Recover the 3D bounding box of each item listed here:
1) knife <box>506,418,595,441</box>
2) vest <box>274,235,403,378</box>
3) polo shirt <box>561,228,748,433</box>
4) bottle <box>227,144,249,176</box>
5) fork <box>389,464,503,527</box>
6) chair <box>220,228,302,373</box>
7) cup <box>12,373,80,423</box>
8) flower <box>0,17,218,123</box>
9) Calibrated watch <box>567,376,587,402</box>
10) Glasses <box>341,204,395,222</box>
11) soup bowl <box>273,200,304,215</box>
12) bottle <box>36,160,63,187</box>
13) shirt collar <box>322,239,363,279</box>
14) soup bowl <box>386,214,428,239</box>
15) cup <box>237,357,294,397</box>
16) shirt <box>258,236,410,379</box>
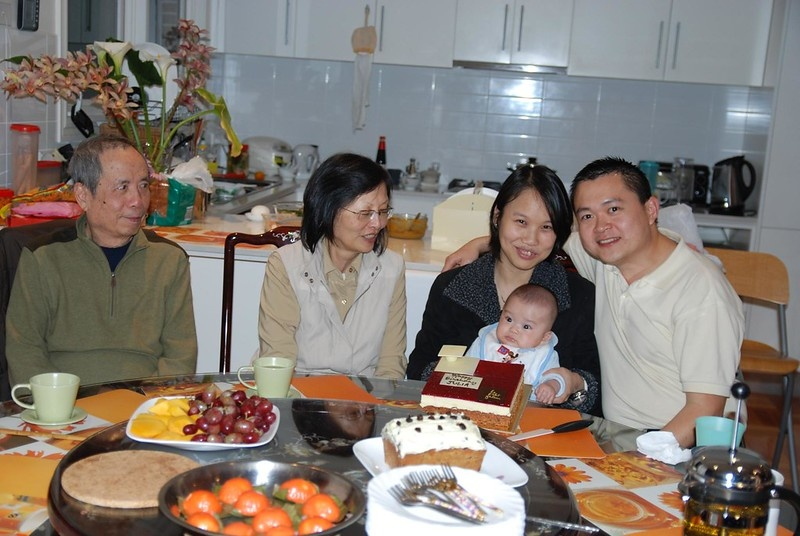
[{"bbox_3d":[0.378,0.418,1.486,0.212,0.017,0.027,-5,21,-20],"label":"knife"},{"bbox_3d":[-0.168,0.172,2.338,0.629,0.553,0.329,1,12,34],"label":"vest"},{"bbox_3d":[0.816,0.227,1.943,0.282,0.465,0.653,-21,30,-26],"label":"polo shirt"},{"bbox_3d":[-1.297,-0.857,4.683,0.162,0.242,0.202,0,9,-17],"label":"bottle"},{"bbox_3d":[0.083,0.391,1.014,0.080,0.022,0.148,-17,26,-34],"label":"fork"},{"bbox_3d":[-0.597,0.150,2.635,0.396,0.696,0.419,2,7,-7],"label":"chair"},{"bbox_3d":[-0.851,0.322,1.406,0.146,0.090,0.108,3,6,-39],"label":"cup"},{"bbox_3d":[-1.434,-1.005,3.099,1.058,0.392,0.592,-13,37,-37],"label":"flower"},{"bbox_3d":[0.591,0.411,1.990,0.078,0.055,0.098,-6,2,6],"label":"Calibrated watch"},{"bbox_3d":[-0.111,-0.199,2.169,0.193,0.046,0.065,-5,11,-39],"label":"Glasses"},{"bbox_3d":[-0.628,-0.356,3.481,0.240,0.080,0.229,-1,12,0],"label":"soup bowl"},{"bbox_3d":[-1.920,-0.517,3.258,0.178,0.152,0.173,-5,14,-34],"label":"bottle"},{"bbox_3d":[-0.223,-0.032,2.222,0.132,0.156,0.085,-6,21,-26],"label":"shirt collar"},{"bbox_3d":[0.039,-0.237,3.322,0.177,0.080,0.155,-2,6,-12],"label":"soup bowl"},{"bbox_3d":[-0.368,0.310,1.592,0.158,0.097,0.103,4,-2,9],"label":"cup"},{"bbox_3d":[-0.258,0.199,2.288,0.632,0.535,0.326,6,9,-27],"label":"shirt"}]
